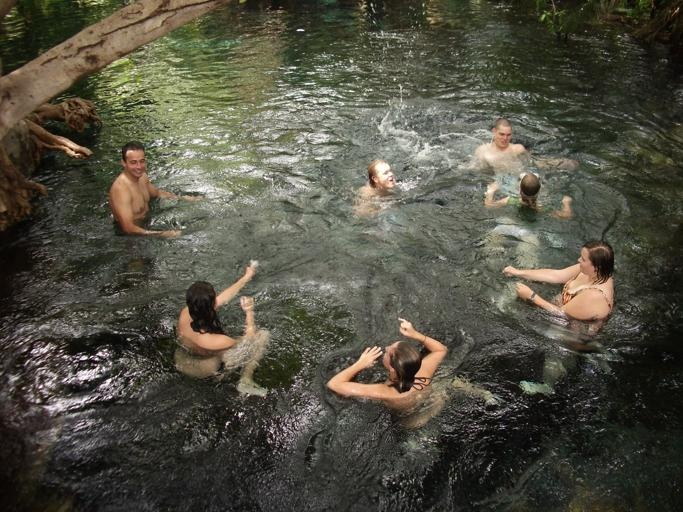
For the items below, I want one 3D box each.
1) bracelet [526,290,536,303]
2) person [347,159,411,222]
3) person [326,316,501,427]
[{"bbox_3d":[2.819,0.604,7.943,0.102,0.148,0.144,42,65,16],"label":"bracelet"},{"bbox_3d":[0.730,-1.382,10.307,0.919,0.898,1.385,10,35,24],"label":"person"},{"bbox_3d":[0.907,1.584,6.834,1.429,0.949,1.738,-35,57,-20],"label":"person"}]
